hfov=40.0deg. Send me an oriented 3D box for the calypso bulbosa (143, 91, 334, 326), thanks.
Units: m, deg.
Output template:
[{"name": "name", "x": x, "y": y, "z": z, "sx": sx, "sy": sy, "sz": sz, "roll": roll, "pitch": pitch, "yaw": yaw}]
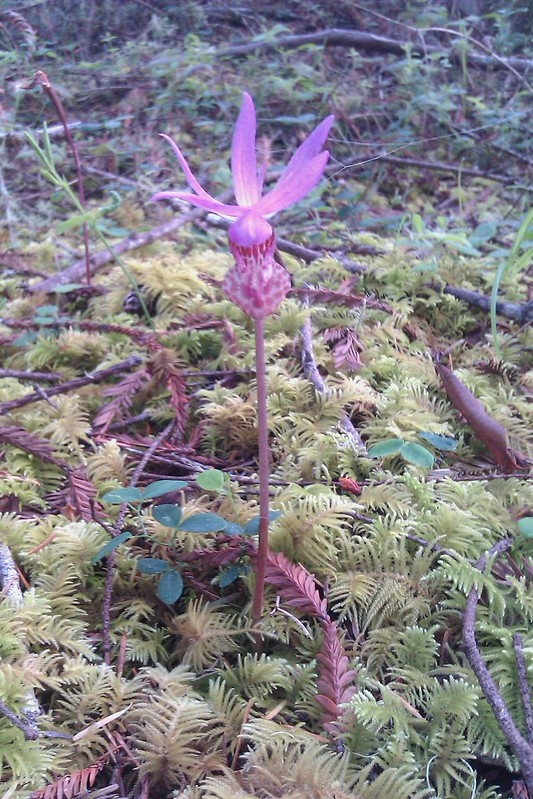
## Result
[{"name": "calypso bulbosa", "x": -0.030, "y": -0.409, "z": 1.682, "sx": 0.397, "sy": 0.496, "sz": 0.420, "roll": -11, "pitch": 1, "yaw": -4}]
